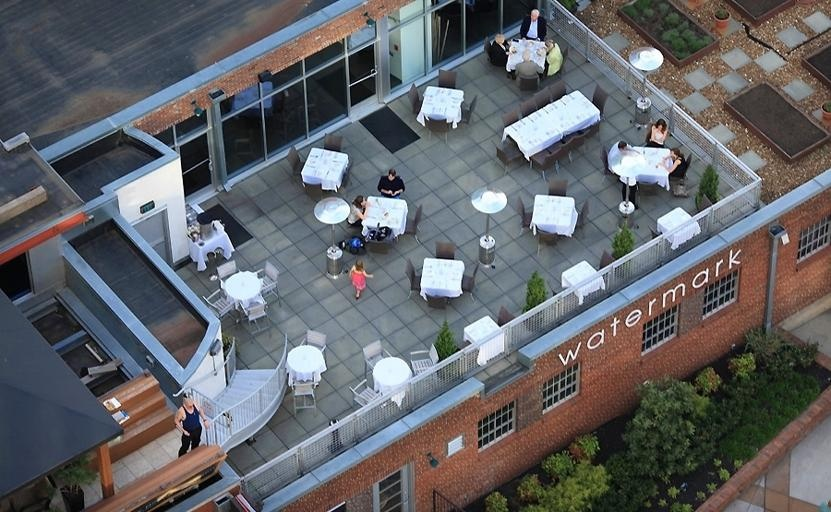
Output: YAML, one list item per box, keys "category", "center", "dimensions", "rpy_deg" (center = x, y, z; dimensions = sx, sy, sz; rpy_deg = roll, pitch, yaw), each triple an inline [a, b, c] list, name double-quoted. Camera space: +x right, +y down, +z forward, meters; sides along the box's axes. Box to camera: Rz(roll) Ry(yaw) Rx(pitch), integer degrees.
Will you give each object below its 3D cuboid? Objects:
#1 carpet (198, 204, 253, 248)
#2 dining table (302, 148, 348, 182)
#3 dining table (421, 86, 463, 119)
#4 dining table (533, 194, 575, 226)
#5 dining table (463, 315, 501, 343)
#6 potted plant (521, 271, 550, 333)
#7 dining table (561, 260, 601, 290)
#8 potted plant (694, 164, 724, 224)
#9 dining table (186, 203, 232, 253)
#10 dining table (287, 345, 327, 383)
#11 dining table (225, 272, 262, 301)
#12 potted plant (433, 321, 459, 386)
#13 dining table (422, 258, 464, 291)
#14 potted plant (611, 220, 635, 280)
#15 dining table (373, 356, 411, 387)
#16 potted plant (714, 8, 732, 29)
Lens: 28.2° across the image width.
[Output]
- category: "carpet"
  center: [-6.881, -1.212, 58.744]
  dimensions: [1.219, 0.450, 1.988]
  rpy_deg: [-31, 72, -23]
- category: "dining table"
  center: [-3.301, -3.432, 59.628]
  dimensions: [1.639, 0.430, 1.439]
  rpy_deg: [-3, 73, 3]
- category: "dining table"
  center: [0.998, -5.827, 61.289]
  dimensions: [1.459, 0.665, 1.411]
  rpy_deg: [10, 73, 6]
- category: "dining table"
  center: [4.939, -1.747, 58.643]
  dimensions: [1.526, 0.508, 1.233]
  rpy_deg: [5, 73, 5]
- category: "dining table"
  center: [2.235, 2.453, 55.624]
  dimensions: [1.121, 1.070, 0.832]
  rpy_deg: [-30, 72, -6]
- category: "potted plant"
  center: [4.063, 1.661, 56.540]
  dimensions: [0.901, 0.884, 2.600]
  rpy_deg: [-13, 54, 20]
- category: "dining table"
  center: [5.666, 0.640, 56.934]
  dimensions: [1.223, 1.620, 1.051]
  rpy_deg: [-15, 71, -2]
- category: "potted plant"
  center: [10.572, -2.458, 58.977]
  dimensions: [0.785, 1.018, 1.984]
  rpy_deg: [-10, 47, 25]
- category: "dining table"
  center: [-7.386, -0.946, 58.153]
  dimensions: [1.228, 1.729, 1.816]
  rpy_deg: [-40, 82, -16]
- category: "dining table"
  center: [-3.697, 3.579, 55.310]
  dimensions: [1.178, 0.638, 1.252]
  rpy_deg: [4, 73, 5]
- category: "dining table"
  center: [-5.955, 0.945, 56.595]
  dimensions: [1.275, 0.433, 1.052]
  rpy_deg: [-1, 73, 3]
- category: "potted plant"
  center: [1.082, 3.330, 55.724]
  dimensions: [0.826, 1.808, 1.968]
  rpy_deg: [-9, 72, 1]
- category: "dining table"
  center: [0.914, 0.556, 57.369]
  dimensions: [1.418, 0.519, 1.273]
  rpy_deg: [1, 73, 4]
- category: "potted plant"
  center: [7.365, -0.352, 57.769]
  dimensions: [0.741, 0.742, 1.841]
  rpy_deg: [-1, 81, -16]
- category: "dining table"
  center: [-0.822, 3.812, 54.818]
  dimensions: [1.254, 0.886, 1.068]
  rpy_deg: [-2, 72, 3]
- category: "potted plant"
  center: [12.117, -9.663, 65.031]
  dimensions: [0.616, 0.450, 0.630]
  rpy_deg: [37, 67, 26]
